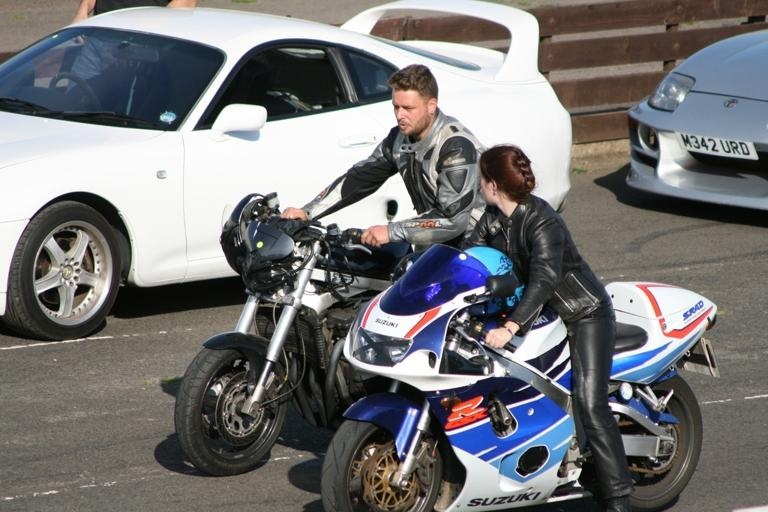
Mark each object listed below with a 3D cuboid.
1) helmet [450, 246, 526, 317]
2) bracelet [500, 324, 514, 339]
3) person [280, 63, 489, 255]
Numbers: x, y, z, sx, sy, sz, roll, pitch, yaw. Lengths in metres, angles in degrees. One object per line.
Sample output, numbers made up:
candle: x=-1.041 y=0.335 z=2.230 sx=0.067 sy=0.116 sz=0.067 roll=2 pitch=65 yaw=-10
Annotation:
helmet: x=0.699 y=0.140 z=6.729 sx=0.346 sy=0.486 sz=0.449 roll=-14 pitch=54 yaw=45
bracelet: x=0.765 y=0.467 z=6.536 sx=0.080 sy=0.093 sz=0.036 roll=0 pitch=1 yaw=-16
person: x=0.098 y=-0.650 z=7.552 sx=1.627 sy=1.214 sz=1.069 roll=-7 pitch=26 yaw=-15
